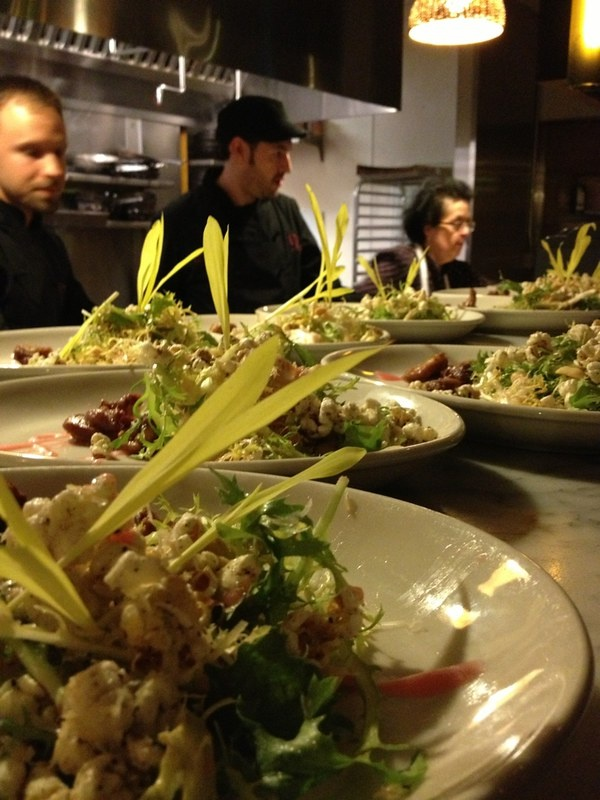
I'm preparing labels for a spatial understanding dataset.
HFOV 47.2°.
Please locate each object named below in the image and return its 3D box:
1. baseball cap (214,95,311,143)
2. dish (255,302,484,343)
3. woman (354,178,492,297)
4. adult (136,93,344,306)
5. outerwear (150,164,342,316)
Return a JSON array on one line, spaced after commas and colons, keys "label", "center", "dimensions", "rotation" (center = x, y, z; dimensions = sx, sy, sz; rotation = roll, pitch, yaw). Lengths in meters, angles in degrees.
[{"label": "baseball cap", "center": [-0.137, -1.123, 2.741], "dimensions": [0.356, 0.149, 0.249], "rotation": [2, 19, -10]}, {"label": "dish", "center": [0.138, -0.140, 1.259], "dimensions": [0.220, 0.027, 0.211], "rotation": [-7, 14, -37]}, {"label": "woman", "center": [0.705, -0.825, 3.771], "dimensions": [0.980, 0.634, 0.460], "rotation": [-8, 23, -39]}, {"label": "adult", "center": [-0.208, -0.854, 3.005], "dimensions": [0.594, 0.886, 1.021], "rotation": [19, 32, 28]}, {"label": "outerwear", "center": [-0.224, -0.751, 3.074], "dimensions": [0.411, 0.539, 0.759], "rotation": [29, 27, 31]}]
